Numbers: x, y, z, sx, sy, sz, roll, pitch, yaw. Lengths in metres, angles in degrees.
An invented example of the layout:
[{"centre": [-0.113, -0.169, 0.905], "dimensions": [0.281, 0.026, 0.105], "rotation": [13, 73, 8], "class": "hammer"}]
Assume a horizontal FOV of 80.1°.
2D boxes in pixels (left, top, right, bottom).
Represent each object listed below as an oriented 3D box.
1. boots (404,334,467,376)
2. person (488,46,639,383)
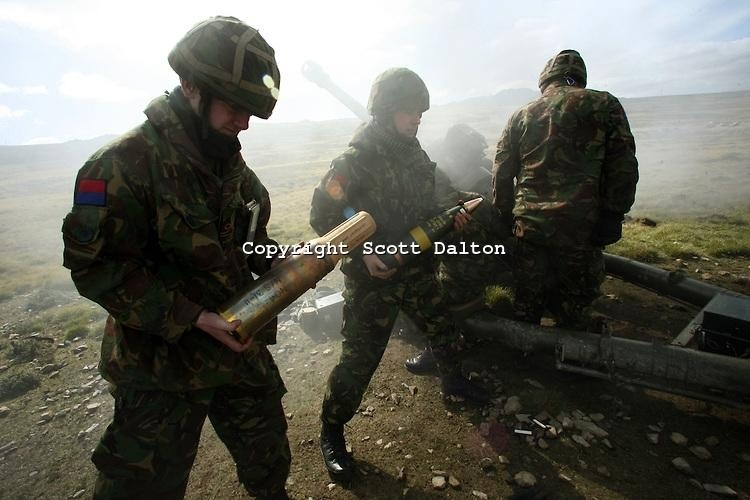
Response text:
[{"centre": [0.795, 1.479, 5.963], "dimensions": [0.949, 0.389, 0.327], "rotation": [-7, -2, 37], "class": "boots"}, {"centre": [2.313, -0.462, 5.552], "dimensions": [1.557, 2.846, 0.879], "rotation": [6, 25, 28], "class": "person"}]
